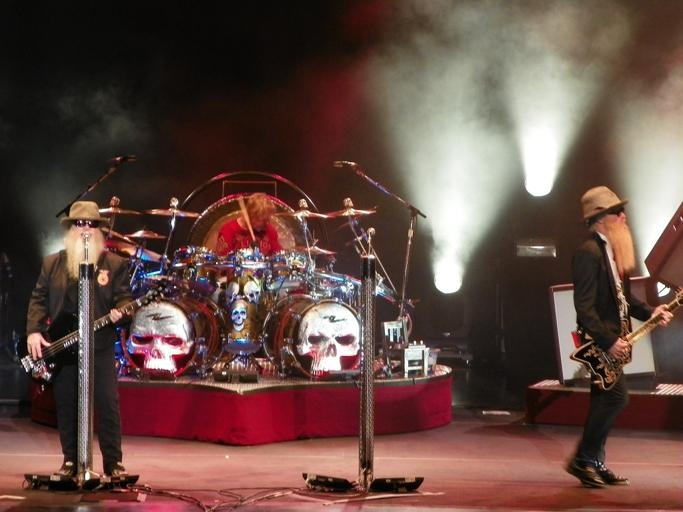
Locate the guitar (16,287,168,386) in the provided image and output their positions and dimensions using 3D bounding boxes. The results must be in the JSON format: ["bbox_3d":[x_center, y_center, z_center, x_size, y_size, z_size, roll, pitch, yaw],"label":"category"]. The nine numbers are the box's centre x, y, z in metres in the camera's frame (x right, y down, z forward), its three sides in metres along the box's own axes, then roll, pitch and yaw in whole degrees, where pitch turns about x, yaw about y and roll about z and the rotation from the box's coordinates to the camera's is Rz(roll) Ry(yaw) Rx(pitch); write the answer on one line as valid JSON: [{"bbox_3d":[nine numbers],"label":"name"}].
[{"bbox_3d":[-1.787,0.595,4.848,0.962,0.531,0.292,-5,-12,18],"label":"guitar"}]

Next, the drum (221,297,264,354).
[{"bbox_3d":[-0.855,0.656,6.472,0.509,0.523,0.506,0,-7,-15],"label":"drum"}]

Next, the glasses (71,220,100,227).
[{"bbox_3d":[-1.810,-0.223,4.960,0.153,0.053,0.071,1,-12,-12],"label":"glasses"}]

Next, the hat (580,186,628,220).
[{"bbox_3d":[1.894,-0.404,5.164,0.417,0.168,0.378,-19,-3,21],"label":"hat"}]

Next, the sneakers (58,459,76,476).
[{"bbox_3d":[-1.906,1.474,4.833,0.085,0.120,0.043,-1,-5,-7],"label":"sneakers"}]

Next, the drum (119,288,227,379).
[{"bbox_3d":[-1.537,0.681,6.430,0.698,0.692,0.910,1,11,16],"label":"drum"}]

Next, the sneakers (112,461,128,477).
[{"bbox_3d":[-1.556,1.497,4.862,0.084,0.040,0.116,8,9,-12],"label":"sneakers"}]

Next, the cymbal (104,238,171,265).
[{"bbox_3d":[-2.218,-0.051,7.381,0.434,0.086,0.396,16,1,-32],"label":"cymbal"}]

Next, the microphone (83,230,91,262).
[{"bbox_3d":[-1.778,-0.040,4.847,0.053,0.234,0.370,3,-12,-20],"label":"microphone"}]

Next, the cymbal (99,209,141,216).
[{"bbox_3d":[-2.401,-0.471,7.530,0.295,0.070,0.287,0,-3,-37],"label":"cymbal"}]

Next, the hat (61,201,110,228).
[{"bbox_3d":[-1.860,-0.304,5.105,0.251,0.114,0.298,2,-21,-14],"label":"hat"}]

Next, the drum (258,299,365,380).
[{"bbox_3d":[-0.288,0.708,6.373,0.726,0.751,0.745,3,-1,-22],"label":"drum"}]
